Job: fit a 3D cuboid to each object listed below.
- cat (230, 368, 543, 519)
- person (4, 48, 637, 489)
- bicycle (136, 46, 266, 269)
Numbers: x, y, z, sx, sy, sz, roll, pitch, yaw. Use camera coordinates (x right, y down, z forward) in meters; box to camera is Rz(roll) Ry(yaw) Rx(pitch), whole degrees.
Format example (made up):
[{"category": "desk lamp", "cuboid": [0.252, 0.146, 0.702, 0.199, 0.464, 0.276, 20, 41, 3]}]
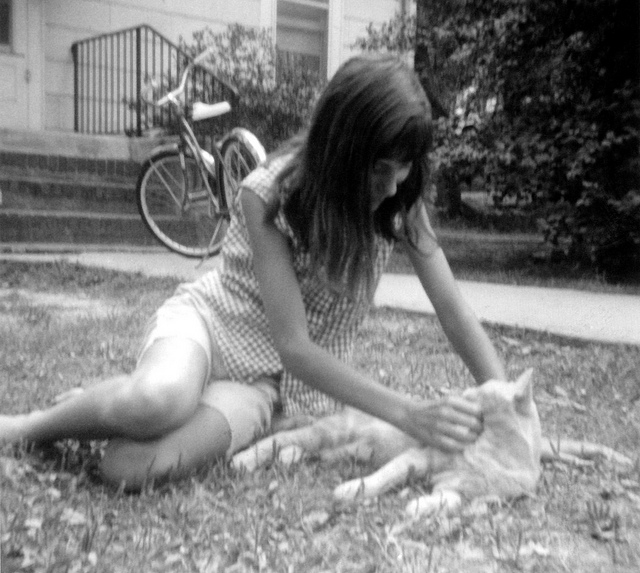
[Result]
[{"category": "cat", "cuboid": [0.225, 0.423, 1.704, 0.479, 0.393, 0.473, 1, -5, 4]}, {"category": "person", "cuboid": [-0.050, -0.077, 1.791, 1.438, 1.074, 0.533, 3, 9, -1]}, {"category": "bicycle", "cuboid": [-0.528, -0.448, 3.354, 0.523, 1.360, 0.599, 5, 11, 35]}]
